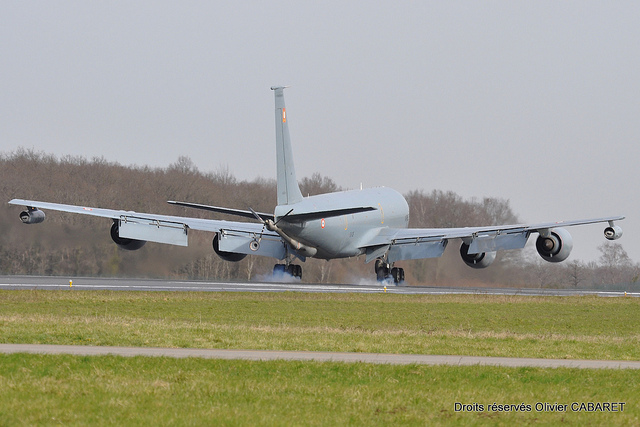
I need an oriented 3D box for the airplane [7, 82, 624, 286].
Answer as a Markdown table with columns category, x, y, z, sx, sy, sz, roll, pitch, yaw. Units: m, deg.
| category | x | y | z | sx | sy | sz | roll | pitch | yaw |
| --- | --- | --- | --- | --- | --- | --- | --- | --- | --- |
| airplane | -2.896 | -1.306 | 71.727 | 30.661 | 10.194 | 21.221 | 7 | -7 | -17 |
